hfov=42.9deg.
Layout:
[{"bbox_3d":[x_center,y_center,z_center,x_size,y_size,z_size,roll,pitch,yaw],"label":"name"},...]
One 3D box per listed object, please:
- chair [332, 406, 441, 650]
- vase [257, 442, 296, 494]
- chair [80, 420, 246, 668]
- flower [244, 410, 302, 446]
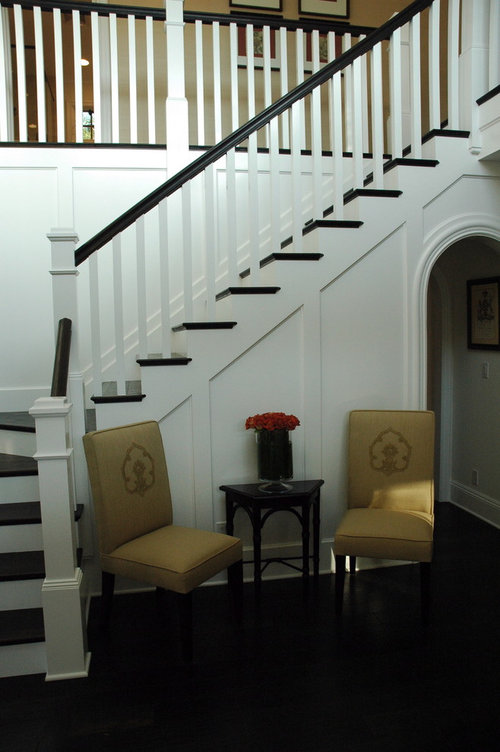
[{"bbox_3d":[0.690,0.674,3.199,0.454,1.007,0.556,1,1,27],"label":"chair"},{"bbox_3d":[0.130,0.419,3.205,0.187,0.306,0.192,-3,5,-20],"label":"vase"},{"bbox_3d":[-0.377,0.708,2.857,0.538,0.988,0.536,-5,1,21],"label":"chair"},{"bbox_3d":[0.106,0.254,3.240,0.258,0.141,0.281,-1,5,-2],"label":"flower"}]
